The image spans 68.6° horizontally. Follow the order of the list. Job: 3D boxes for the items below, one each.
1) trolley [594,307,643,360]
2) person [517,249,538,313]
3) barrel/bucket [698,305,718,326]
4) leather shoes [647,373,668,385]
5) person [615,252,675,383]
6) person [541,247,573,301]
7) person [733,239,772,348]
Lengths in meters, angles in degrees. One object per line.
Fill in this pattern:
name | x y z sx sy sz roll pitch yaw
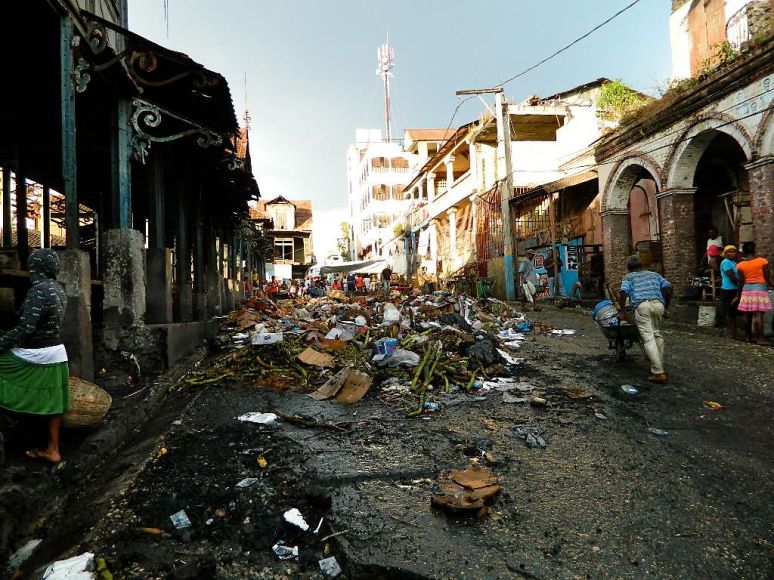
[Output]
trolley | 3.726 0.692 9.372 0.572 0.489 1.060 -3 -13 -3
person | 4.577 -0.356 18.305 0.526 1.401 2.498 -2 1 15
barrel/bucket | 6.749 0.542 11.923 0.362 0.404 0.374 1 -3 0
leather shoes | 3.961 1.283 8.273 0.285 0.133 0.106 7 13 42
person | 3.968 0.423 8.659 0.735 1.924 0.678 4 -14 -20
person | 6.064 -0.694 20.029 1.003 1.796 0.968 -1 3 -41
person | 6.540 0.049 10.093 0.503 1.763 0.659 -2 1 32
